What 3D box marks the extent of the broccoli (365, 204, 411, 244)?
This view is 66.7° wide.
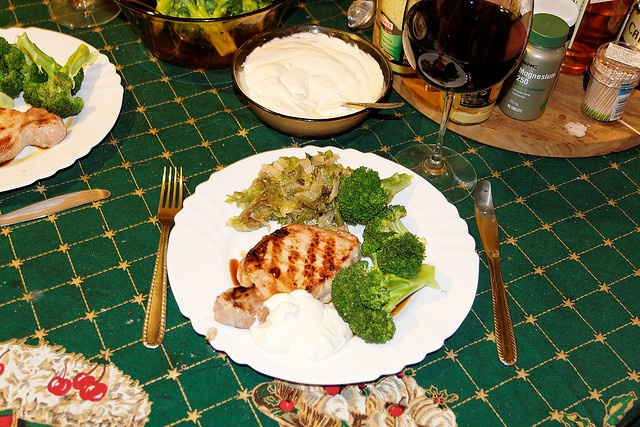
[{"bbox_3d":[0.327,0.028,2.290,0.206,0.133,0.303,1,45,4],"label":"broccoli"}]

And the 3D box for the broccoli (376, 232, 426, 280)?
[{"bbox_3d":[0.379,0.153,2.170,0.102,0.243,0.236,33,40,-19],"label":"broccoli"}]

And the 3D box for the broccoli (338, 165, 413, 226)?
[{"bbox_3d":[0.256,-0.122,2.331,0.322,0.228,0.187,-29,38,-28],"label":"broccoli"}]
